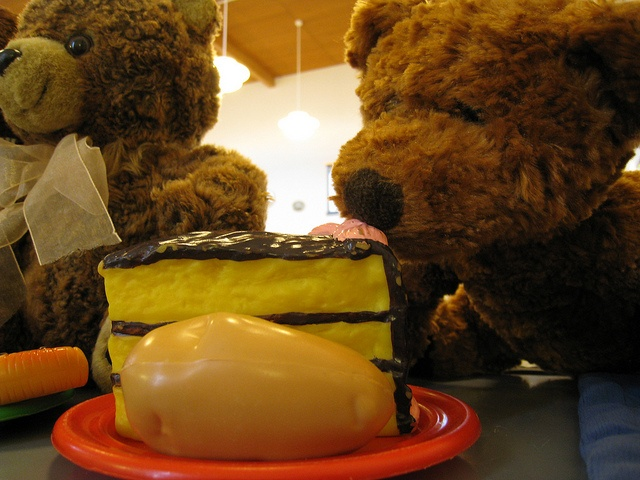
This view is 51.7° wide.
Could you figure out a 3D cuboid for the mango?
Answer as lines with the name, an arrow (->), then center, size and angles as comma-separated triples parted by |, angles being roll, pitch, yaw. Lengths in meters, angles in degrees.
mango -> -0.061, 0.150, 0.677 | 0.284, 0.139, 0.070 | 1, 12, -1
